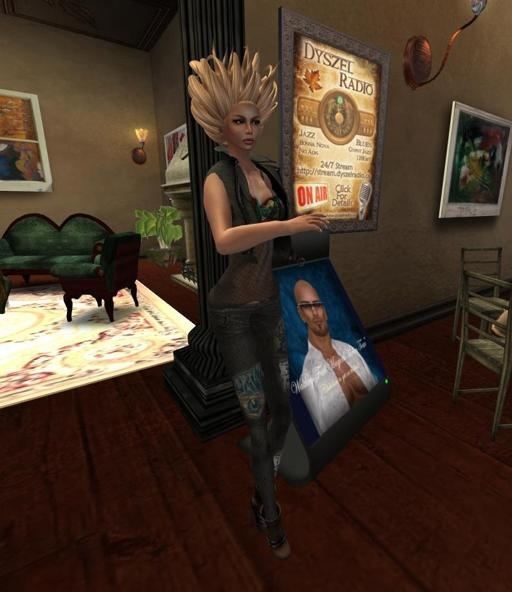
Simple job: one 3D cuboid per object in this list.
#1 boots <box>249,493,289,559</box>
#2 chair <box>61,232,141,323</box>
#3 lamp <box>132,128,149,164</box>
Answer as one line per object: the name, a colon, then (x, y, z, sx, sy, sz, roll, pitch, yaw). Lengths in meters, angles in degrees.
boots: (0.029, 0.773, 1.210, 0.065, 0.090, 0.229, -7, 29, -16)
chair: (-1.618, -0.241, 3.782, 0.862, 0.857, 0.824, -5, 15, -29)
lamp: (-2.296, -2.985, 7.061, 0.375, 0.675, 0.189, -7, 14, -25)
